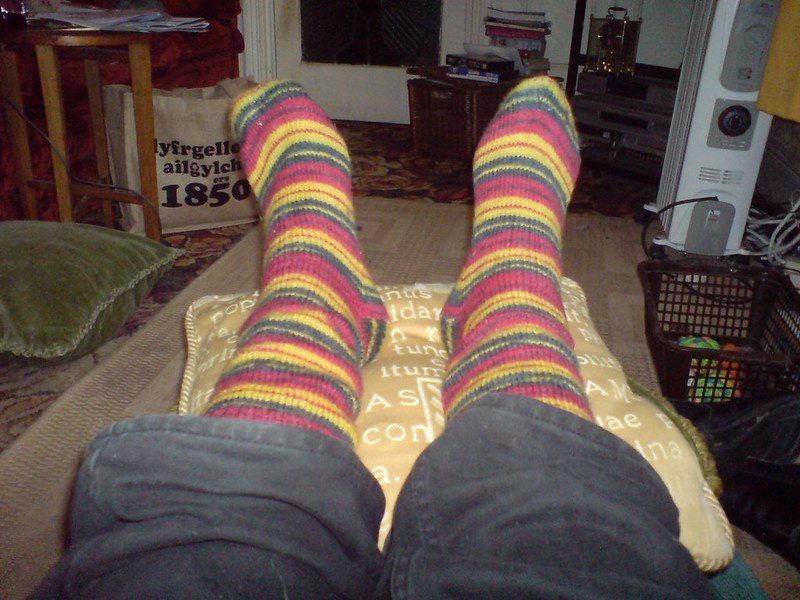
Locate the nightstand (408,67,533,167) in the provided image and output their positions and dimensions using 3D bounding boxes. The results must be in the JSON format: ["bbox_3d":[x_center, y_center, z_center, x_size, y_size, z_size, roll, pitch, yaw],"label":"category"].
[{"bbox_3d":[0.344,-0.835,3.046,0.575,0.602,0.650,1,33,5],"label":"nightstand"}]

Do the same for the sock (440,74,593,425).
[{"bbox_3d":[0.217,-0.115,1.066,0.248,0.175,0.650,-7,40,20],"label":"sock"}]

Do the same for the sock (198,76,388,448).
[{"bbox_3d":[-0.160,-0.103,1.003,0.278,0.152,0.647,2,39,-10],"label":"sock"}]
